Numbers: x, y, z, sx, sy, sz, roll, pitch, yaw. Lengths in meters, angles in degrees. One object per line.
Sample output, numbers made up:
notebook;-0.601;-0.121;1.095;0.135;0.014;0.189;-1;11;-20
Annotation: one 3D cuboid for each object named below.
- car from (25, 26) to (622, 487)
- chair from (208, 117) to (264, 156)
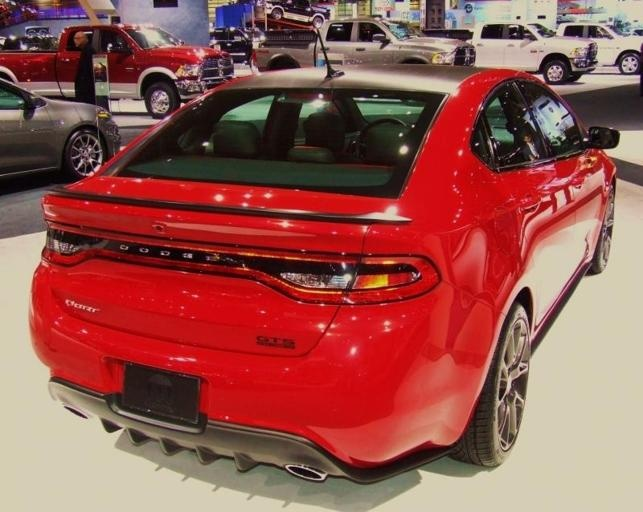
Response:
car;0.446;-0.591;3.097;2.181;1.238;3.860;14;34;28
chair;-0.539;-0.642;2.559;0.211;0.205;0.356;11;19;32
